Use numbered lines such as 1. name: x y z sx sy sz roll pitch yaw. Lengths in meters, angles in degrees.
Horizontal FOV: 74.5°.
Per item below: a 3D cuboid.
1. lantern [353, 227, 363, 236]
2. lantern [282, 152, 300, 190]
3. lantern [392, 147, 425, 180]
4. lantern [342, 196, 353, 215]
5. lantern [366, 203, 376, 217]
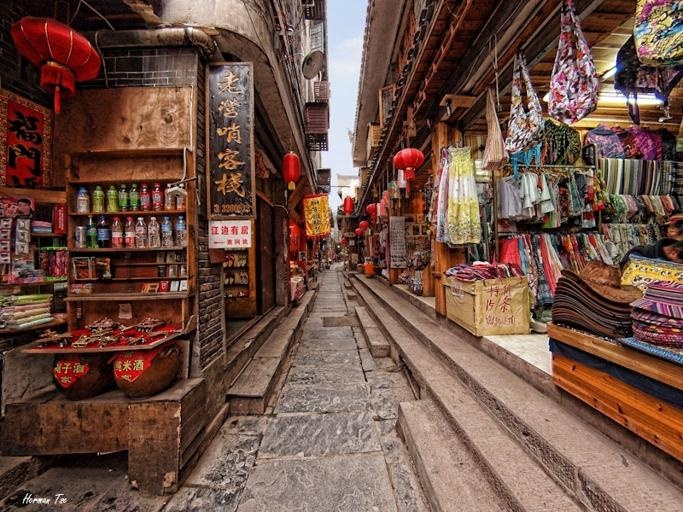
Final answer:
1. lantern: 0.738 -1.020 19.245 0.324 0.360 0.332 4 12 40
2. lantern: -0.951 -1.645 8.586 0.313 0.760 0.597 -3 0 -7
3. lantern: 1.275 -1.759 8.526 0.470 0.636 0.507 -3 0 -37
4. lantern: 0.264 -1.888 16.201 0.255 0.655 0.939 -3 0 -5
5. lantern: 0.951 -1.488 14.489 0.389 0.459 0.433 -2 0 23
